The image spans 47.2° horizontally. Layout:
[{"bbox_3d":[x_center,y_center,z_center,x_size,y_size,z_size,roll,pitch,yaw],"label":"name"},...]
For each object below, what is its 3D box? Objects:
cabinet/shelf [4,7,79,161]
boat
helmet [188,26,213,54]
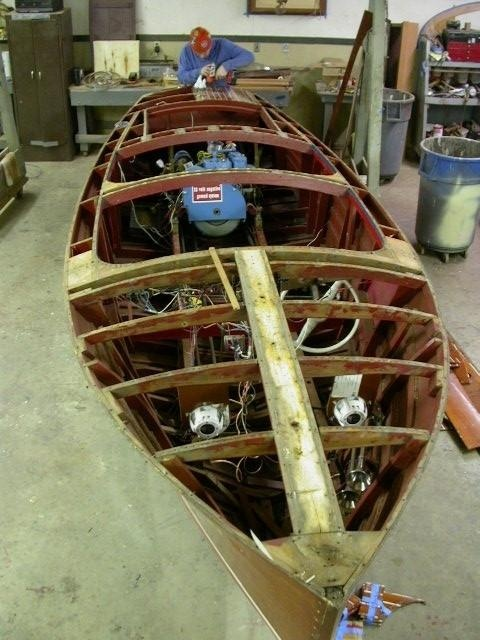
[{"bbox_3d":[-2.333,-2.710,6.475,0.760,1.666,0.410,-8,30,-14],"label":"cabinet/shelf"},{"bbox_3d":[0.006,0.017,3.194,1.597,0.937,3.438,-2,42,-7],"label":"boat"},{"bbox_3d":[-0.393,-2.781,5.522,0.236,0.253,0.198,-4,64,2],"label":"helmet"}]
